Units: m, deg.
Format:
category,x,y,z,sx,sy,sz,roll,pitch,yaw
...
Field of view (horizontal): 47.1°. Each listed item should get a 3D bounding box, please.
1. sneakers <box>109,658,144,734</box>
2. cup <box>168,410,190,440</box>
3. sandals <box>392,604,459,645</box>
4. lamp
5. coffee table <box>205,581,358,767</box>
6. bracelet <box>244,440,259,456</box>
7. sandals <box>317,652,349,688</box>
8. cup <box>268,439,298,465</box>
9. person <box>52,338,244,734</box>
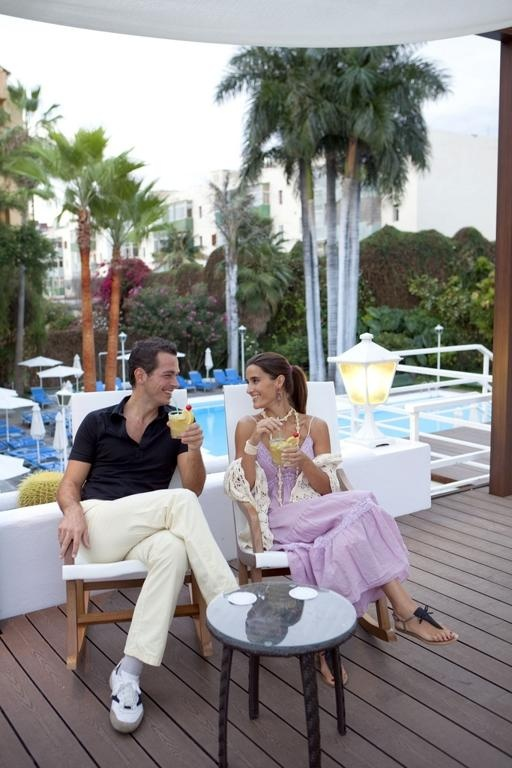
category,x,y,z,sx,sy,sz,roll,pitch,yaw
sneakers,-0.356,0.850,1.597,0.086,0.090,0.235,16,6,-22
cup,-0.245,0.132,1.923,0.096,0.104,0.061,1,6,5
sandals,0.499,0.736,1.821,0.222,0.101,0.095,3,15,42
lamp,0.664,0.033,3.574,0.404,0.669,0.380,0,7,44
coffee table,0.068,0.657,1.334,0.368,0.435,0.370,0,11,9
bracelet,-0.019,0.228,2.078,0.046,0.049,0.047,2,4,3
sandals,0.235,0.868,1.823,0.054,0.045,0.161,-1,12,-8
cup,0.087,0.224,1.967,0.076,0.088,0.088,0,3,-7
person,-0.380,0.390,1.900,0.517,1.062,0.836,-8,3,-13
